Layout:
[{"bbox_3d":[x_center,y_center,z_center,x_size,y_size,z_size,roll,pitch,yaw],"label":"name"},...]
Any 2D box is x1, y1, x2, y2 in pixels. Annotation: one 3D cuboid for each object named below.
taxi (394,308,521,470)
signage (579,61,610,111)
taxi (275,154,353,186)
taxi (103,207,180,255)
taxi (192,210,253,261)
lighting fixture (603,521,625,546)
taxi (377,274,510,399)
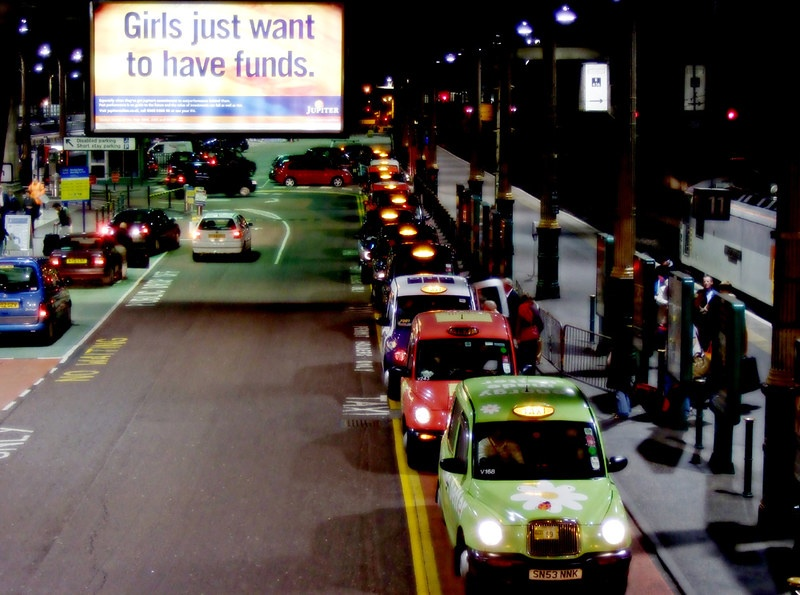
[{"bbox_3d":[1.168,1.627,13.915,2.112,2.521,4.335,-1,7,2],"label":"taxi"},{"bbox_3d":[5.535,-5.951,20.727,0.780,1.321,0.740,15,34,36],"label":"signage"},{"bbox_3d":[-7.141,-10.432,62.799,5.121,2.172,2.978,-3,12,-4],"label":"taxi"},{"bbox_3d":[-11.767,-3.022,34.657,1.370,2.116,3.900,2,10,12],"label":"taxi"},{"bbox_3d":[-7.891,-2.990,34.172,1.541,1.449,2.843,-1,12,-3],"label":"taxi"},{"bbox_3d":[2.286,2.503,7.959,0.211,0.260,0.230,-3,47,24],"label":"lighting fixture"},{"bbox_3d":[0.834,0.800,17.843,2.365,2.569,4.639,-1,6,2],"label":"taxi"}]
